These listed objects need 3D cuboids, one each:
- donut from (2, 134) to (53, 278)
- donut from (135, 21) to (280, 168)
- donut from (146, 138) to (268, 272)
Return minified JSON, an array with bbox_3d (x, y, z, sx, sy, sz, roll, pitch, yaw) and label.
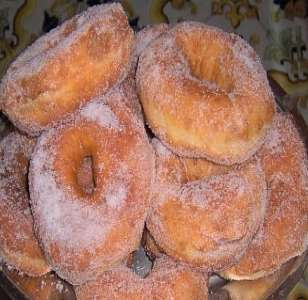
[{"bbox_3d":[-0.415,0.191,1.766,0.226,0.090,0.391,-6,82,-2],"label":"donut"},{"bbox_3d":[0.156,-0.152,1.600,0.332,0.153,0.436,12,77,14],"label":"donut"},{"bbox_3d":[0.142,0.188,1.571,0.309,0.108,0.422,6,82,26],"label":"donut"}]
